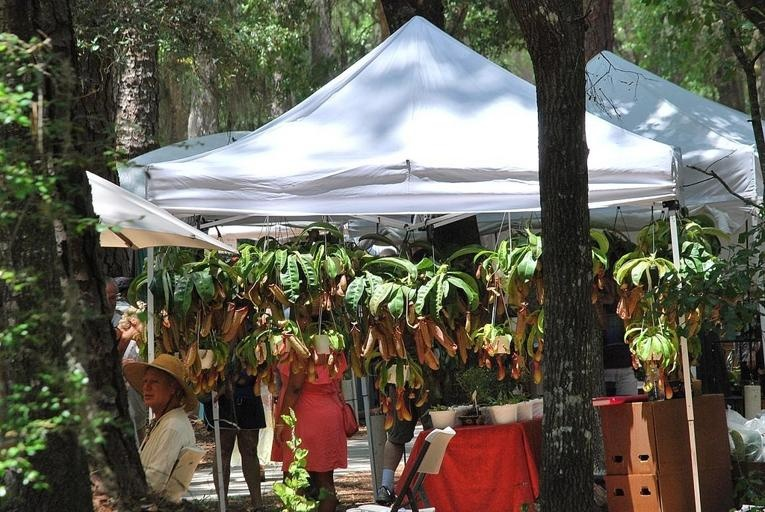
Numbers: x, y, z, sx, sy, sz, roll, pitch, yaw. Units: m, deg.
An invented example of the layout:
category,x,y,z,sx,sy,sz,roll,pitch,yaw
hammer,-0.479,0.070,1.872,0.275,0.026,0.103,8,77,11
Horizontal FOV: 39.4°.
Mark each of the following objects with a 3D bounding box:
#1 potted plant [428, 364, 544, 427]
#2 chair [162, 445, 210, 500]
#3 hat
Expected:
category,x,y,z,sx,sy,sz,roll,pitch,yaw
potted plant,0.914,1.245,9.066,0.648,0.340,0.603,-2,-5,12
chair,-1.479,1.567,7.724,0.322,0.474,0.303,2,-3,30
hat,-1.660,0.921,8.257,0.497,0.258,0.528,-5,25,-10
